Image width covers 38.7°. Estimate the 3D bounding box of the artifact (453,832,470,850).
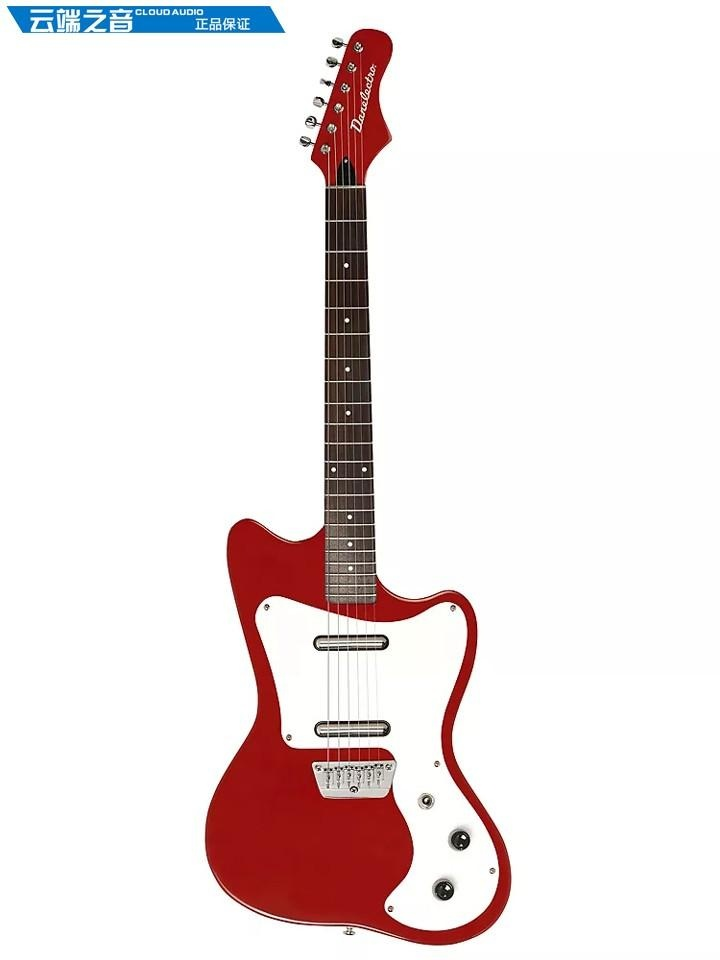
[{"bbox_3d":[0.243,0.878,2.506,0.051,0.021,0.040,-1,58,-6],"label":"artifact"}]
